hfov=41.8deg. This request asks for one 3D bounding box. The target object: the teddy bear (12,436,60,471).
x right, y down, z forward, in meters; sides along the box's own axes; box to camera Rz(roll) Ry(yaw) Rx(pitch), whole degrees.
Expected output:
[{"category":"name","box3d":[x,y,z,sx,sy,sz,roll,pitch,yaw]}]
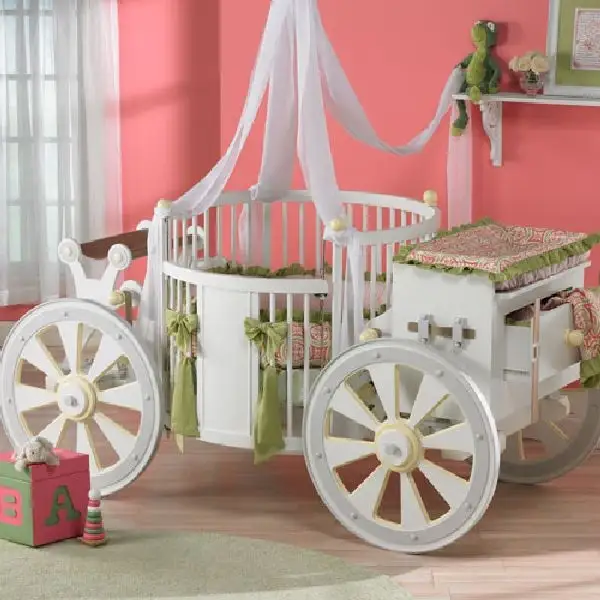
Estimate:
[{"category":"teddy bear","box3d":[-0.784,0.462,2.347,0.122,0.083,0.166,1,1,-19]}]

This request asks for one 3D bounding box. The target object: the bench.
[{"category":"bench","box3d":[0.583,0.064,2.445,0.410,0.554,0.651,5,7,33]}]

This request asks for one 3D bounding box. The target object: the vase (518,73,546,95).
[{"category":"vase","box3d":[1.039,-0.965,3.553,0.097,0.081,0.089,0,9,9]}]

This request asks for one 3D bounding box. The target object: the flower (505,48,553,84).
[{"category":"flower","box3d":[1.005,-1.013,3.465,0.141,0.101,0.144,3,42,19]}]

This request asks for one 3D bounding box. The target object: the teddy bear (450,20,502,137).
[{"category":"teddy bear","box3d":[0.836,-1.046,3.728,0.192,0.540,0.204,-3,7,-29]}]
